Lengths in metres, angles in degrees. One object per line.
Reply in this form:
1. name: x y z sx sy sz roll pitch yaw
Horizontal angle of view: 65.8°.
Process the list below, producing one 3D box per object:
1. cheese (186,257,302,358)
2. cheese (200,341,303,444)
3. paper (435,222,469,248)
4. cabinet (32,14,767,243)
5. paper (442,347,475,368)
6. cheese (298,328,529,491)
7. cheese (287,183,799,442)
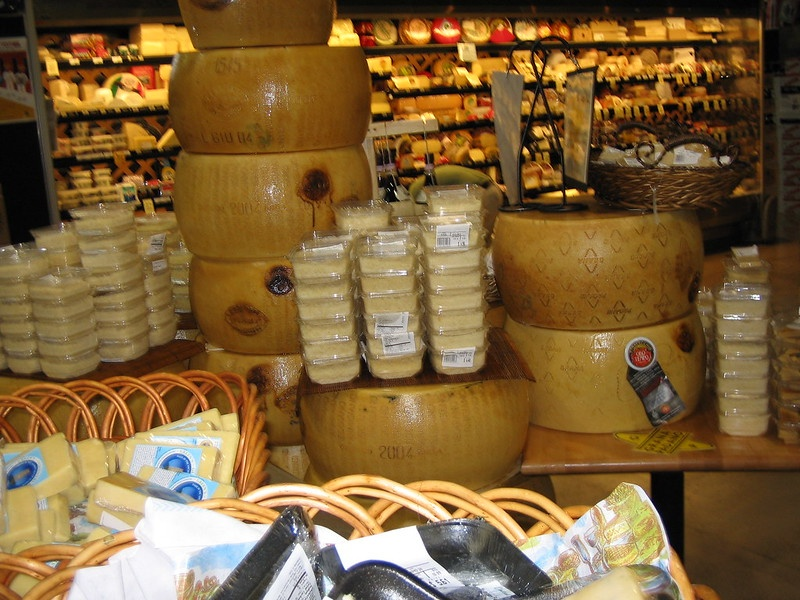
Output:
1. cheese: -0.595 0.019 2.192 0.483 0.369 0.473 -2 -4 -29
2. cheese: -0.480 0.303 2.105 0.326 0.273 0.338 0 12 3
3. paper: 0.133 -0.160 1.570 0.100 0.074 0.056 -1 20 -4
4. cabinet: -0.156 -0.975 3.284 2.485 0.908 0.572 -3 -3 -21
5. paper: 0.153 0.152 1.609 0.066 0.051 0.020 -1 11 0
6. cheese: 0.065 0.368 1.965 0.715 0.382 0.748 -1 4 20
7. cheese: 0.713 0.045 2.196 0.765 0.754 0.844 -2 3 -2
